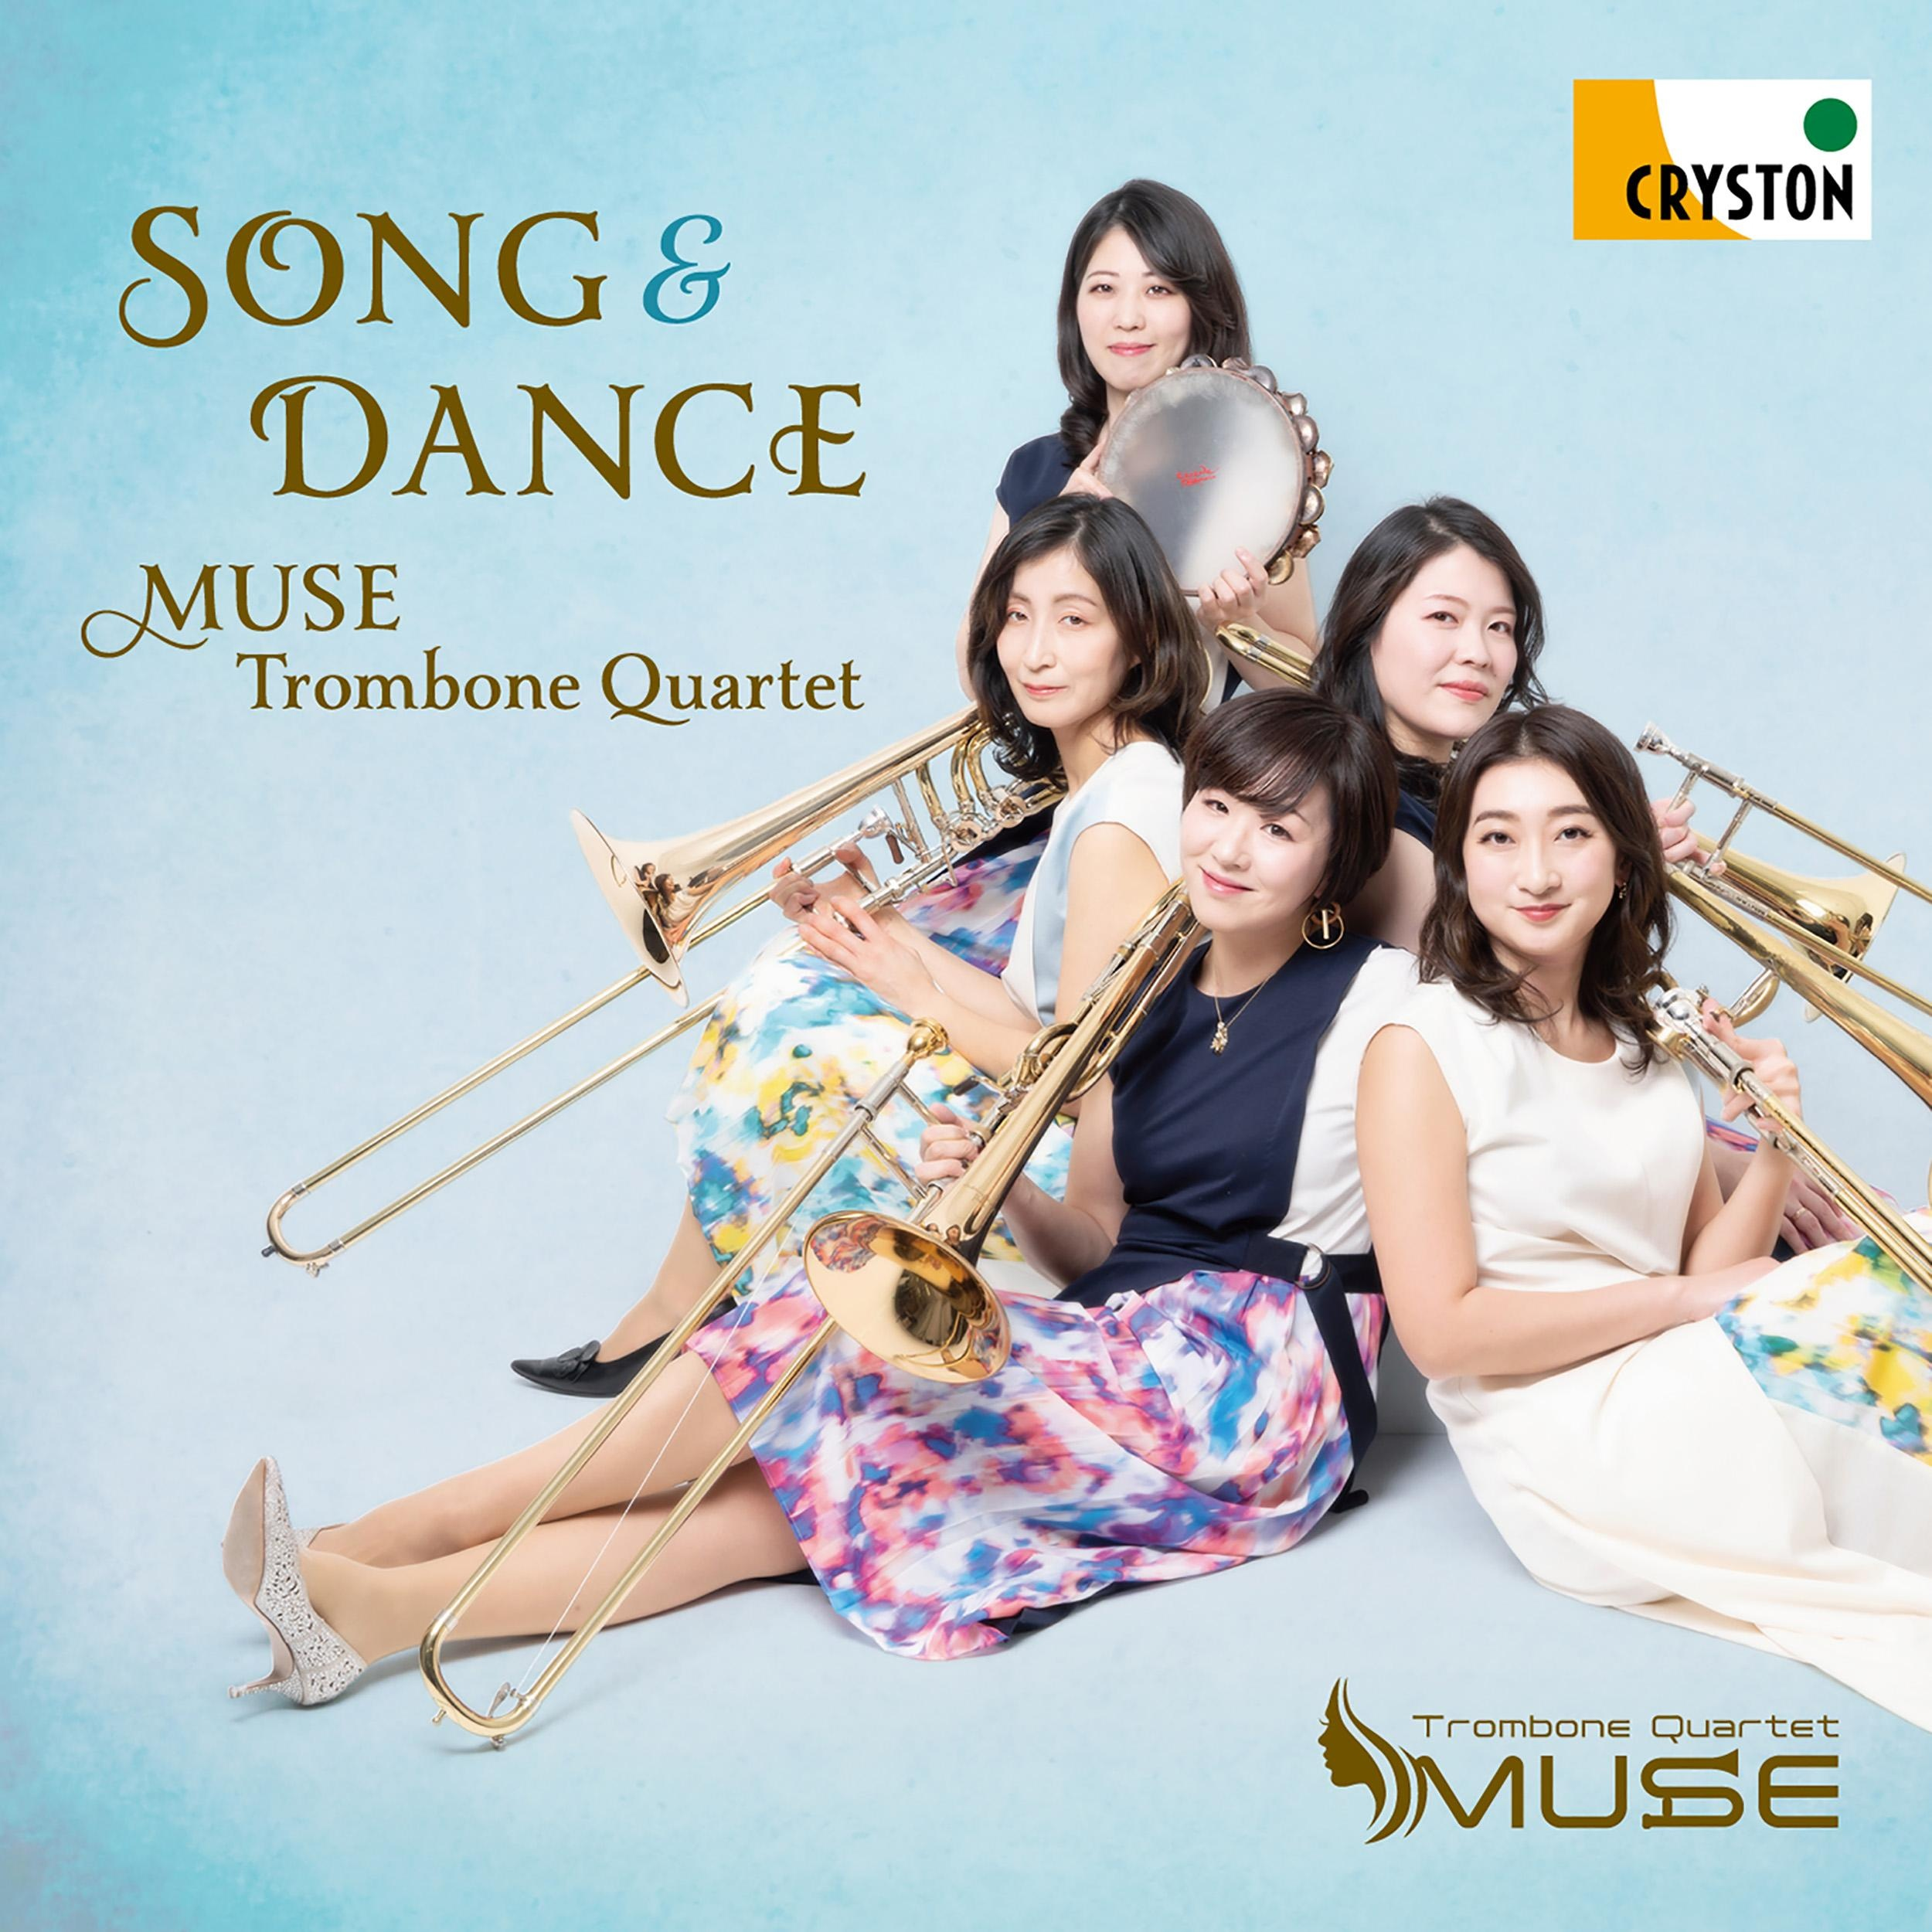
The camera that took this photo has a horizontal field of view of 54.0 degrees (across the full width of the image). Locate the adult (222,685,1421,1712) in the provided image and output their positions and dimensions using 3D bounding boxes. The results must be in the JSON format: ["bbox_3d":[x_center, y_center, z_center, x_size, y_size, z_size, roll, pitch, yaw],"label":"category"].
[{"bbox_3d":[0.015,0.472,2.310,1.170,0.515,0.376,-23,9,34],"label":"adult"}]

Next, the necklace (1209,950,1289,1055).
[{"bbox_3d":[0.345,0.048,2.358,0.049,0.149,0.047,36,-6,31],"label":"necklace"}]
